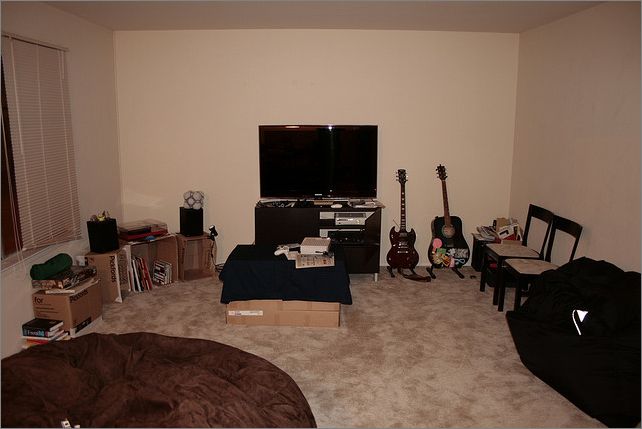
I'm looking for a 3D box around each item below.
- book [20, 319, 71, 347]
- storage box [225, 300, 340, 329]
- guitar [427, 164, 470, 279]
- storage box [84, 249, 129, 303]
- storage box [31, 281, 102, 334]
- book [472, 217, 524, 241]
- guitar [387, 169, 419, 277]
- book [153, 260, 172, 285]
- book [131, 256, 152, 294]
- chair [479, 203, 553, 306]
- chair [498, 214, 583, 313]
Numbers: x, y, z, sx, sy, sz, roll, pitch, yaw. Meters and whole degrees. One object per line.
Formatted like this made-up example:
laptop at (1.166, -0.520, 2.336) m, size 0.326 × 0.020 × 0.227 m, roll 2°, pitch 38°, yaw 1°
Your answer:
book at (-2.702, 1.139, 4.252) m, size 0.401 × 0.197 × 0.365 m, roll 5°, pitch 8°, yaw 22°
storage box at (-0.410, 1.059, 4.590) m, size 1.192 × 0.270 × 0.078 m, roll 1°, pitch 9°, yaw 3°
guitar at (1.724, 0.092, 5.752) m, size 0.535 × 1.471 × 0.492 m, roll 2°, pitch 9°, yaw 9°
storage box at (-2.542, 0.725, 5.129) m, size 0.514 × 0.566 × 0.513 m, roll 0°, pitch 8°, yaw 18°
storage box at (-2.669, 0.989, 4.551) m, size 0.445 × 0.412 × 0.593 m, roll 1°, pitch 3°, yaw -1°
book at (2.317, 0.217, 5.677) m, size 0.318 × 0.171 × 0.431 m, roll -2°, pitch 8°, yaw 0°
guitar at (1.103, 0.111, 5.770) m, size 0.394 × 1.418 × 0.442 m, roll 2°, pitch 9°, yaw 9°
book at (-2.020, 0.755, 5.514) m, size 0.301 × 0.297 × 0.120 m, roll -1°, pitch 1°, yaw 28°
book at (-2.229, 0.752, 5.335) m, size 0.109 × 0.367 × 0.271 m, roll -7°, pitch 1°, yaw -7°
chair at (2.319, 0.466, 5.162) m, size 0.787 × 1.125 × 0.794 m, roll 11°, pitch 14°, yaw 43°
chair at (2.366, 0.601, 4.756) m, size 0.742 × 1.156 × 0.728 m, roll -4°, pitch 13°, yaw -34°
